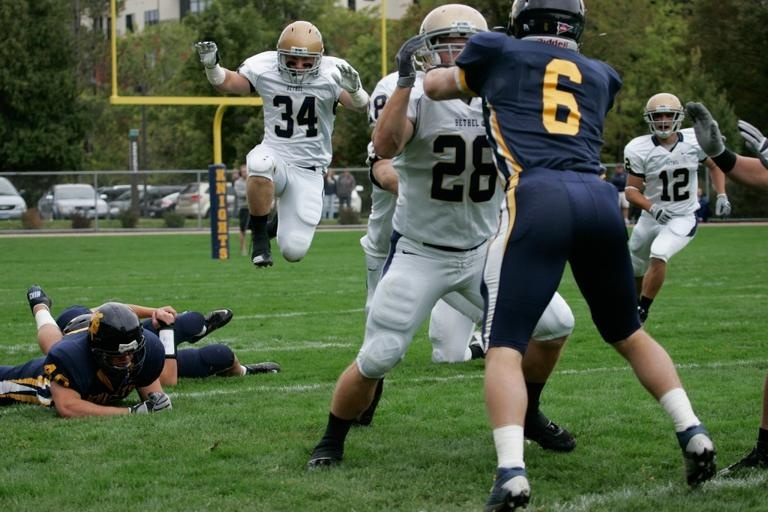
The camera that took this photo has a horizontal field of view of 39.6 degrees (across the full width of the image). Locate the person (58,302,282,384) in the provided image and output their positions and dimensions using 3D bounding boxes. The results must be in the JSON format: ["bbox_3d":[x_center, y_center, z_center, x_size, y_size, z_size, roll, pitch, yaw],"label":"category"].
[{"bbox_3d":[-1.889,0.872,10.227,1.520,0.606,0.984,9,4,-21],"label":"person"}]

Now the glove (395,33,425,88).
[{"bbox_3d":[0.201,-1.524,8.330,0.192,0.422,0.414,0,7,2],"label":"glove"}]

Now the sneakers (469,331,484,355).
[{"bbox_3d":[0.944,0.860,10.793,0.170,0.288,0.112,-2,-34,3],"label":"sneakers"}]

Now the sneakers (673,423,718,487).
[{"bbox_3d":[2.331,1.496,7.990,0.199,0.529,0.247,-19,27,-9],"label":"sneakers"}]

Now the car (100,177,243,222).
[{"bbox_3d":[-5.327,-1.386,26.541,3.147,1.207,1.480,1,3,-15],"label":"car"}]

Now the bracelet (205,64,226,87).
[{"bbox_3d":[-1.855,-1.979,11.675,0.150,0.120,0.369,-9,2,6],"label":"bracelet"}]

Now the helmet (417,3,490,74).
[{"bbox_3d":[0.544,-1.792,8.732,0.493,0.480,0.603,-2,4,-15],"label":"helmet"}]

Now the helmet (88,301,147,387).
[{"bbox_3d":[-2.280,0.677,9.202,0.464,0.554,0.640,-14,56,-35],"label":"helmet"}]

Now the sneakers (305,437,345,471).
[{"bbox_3d":[-0.470,1.599,8.489,0.157,0.127,0.309,-3,-9,38],"label":"sneakers"}]

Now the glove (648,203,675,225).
[{"bbox_3d":[3.199,-0.465,12.278,0.236,0.175,0.112,44,13,26],"label":"glove"}]

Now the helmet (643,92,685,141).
[{"bbox_3d":[3.376,-1.694,12.833,0.460,0.549,0.565,-1,7,11],"label":"helmet"}]

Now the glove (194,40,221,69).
[{"bbox_3d":[-1.908,-2.188,11.507,0.242,0.324,0.124,-6,11,0],"label":"glove"}]

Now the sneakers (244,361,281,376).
[{"bbox_3d":[-1.170,1.105,10.382,0.366,0.162,0.134,-8,40,1],"label":"sneakers"}]

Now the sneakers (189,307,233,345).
[{"bbox_3d":[-1.673,0.666,10.410,0.548,0.188,0.232,-38,-3,-12],"label":"sneakers"}]

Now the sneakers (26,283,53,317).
[{"bbox_3d":[-3.385,0.431,10.442,0.131,0.195,0.334,22,23,-46],"label":"sneakers"}]
